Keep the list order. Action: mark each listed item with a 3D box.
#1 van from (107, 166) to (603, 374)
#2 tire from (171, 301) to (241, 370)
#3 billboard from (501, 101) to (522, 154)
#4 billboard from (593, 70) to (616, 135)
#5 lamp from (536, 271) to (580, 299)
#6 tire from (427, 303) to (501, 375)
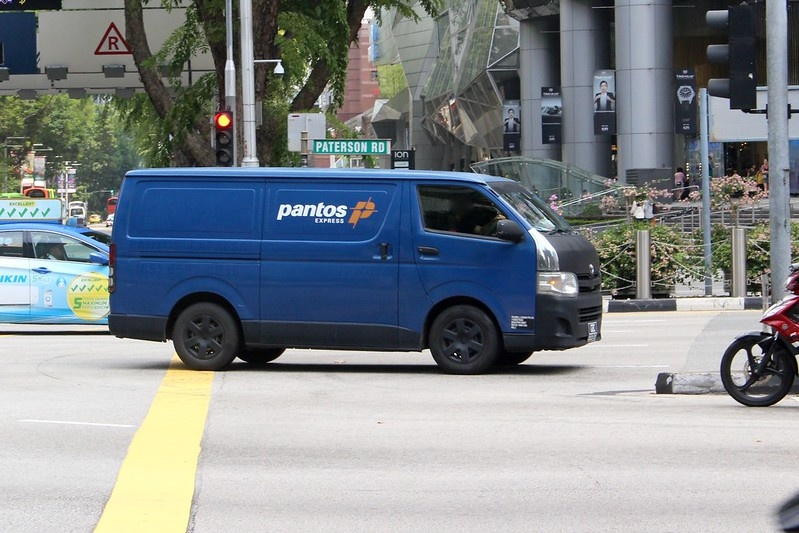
[{"bbox_3d":[-0.713,0.051,16.319,6.207,2.192,2.879,0,0,8],"label":"van"},{"bbox_3d":[-2.590,0.893,15.490,0.837,0.759,0.267,22,5,14],"label":"tire"},{"bbox_3d":[6.425,-8.063,65.397,1.088,2.889,1.655,5,10,3],"label":"billboard"},{"bbox_3d":[9.836,-7.910,54.829,1.053,2.995,1.460,4,10,-2],"label":"billboard"},{"bbox_3d":[2.061,0.229,14.868,0.410,0.250,0.381,0,0,-45],"label":"lamp"},{"bbox_3d":[0.856,0.907,14.941,1.057,0.924,0.344,-1,3,5],"label":"tire"}]
